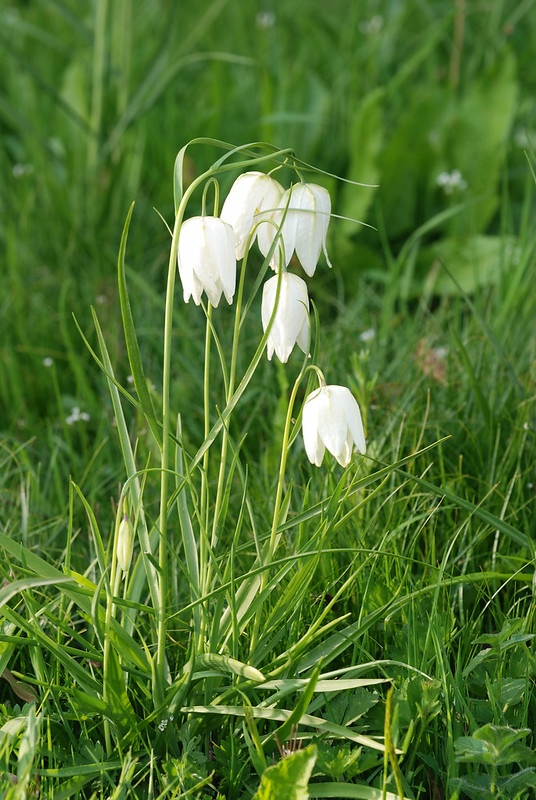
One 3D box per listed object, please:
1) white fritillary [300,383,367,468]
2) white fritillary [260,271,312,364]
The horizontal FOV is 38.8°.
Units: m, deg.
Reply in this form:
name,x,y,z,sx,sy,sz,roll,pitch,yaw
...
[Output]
name,x,y,z,sx,sy,sz,roll,pitch,yaw
white fritillary,0.056,0.032,0.631,0.037,0.048,0.072,-9,70,-3
white fritillary,0.018,-0.070,0.644,0.031,0.082,0.037,-1,0,-13
